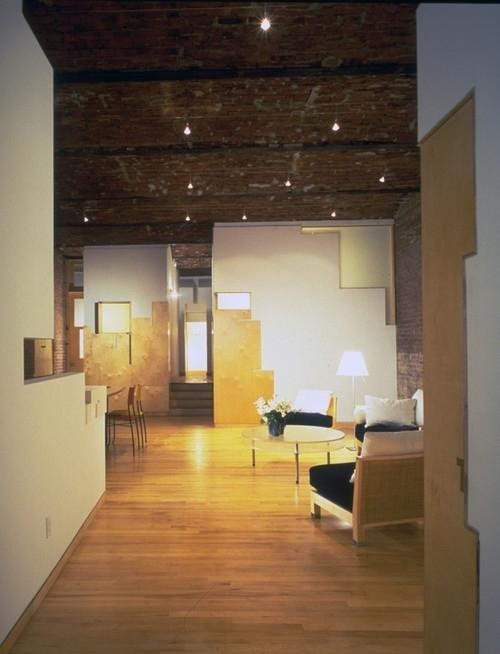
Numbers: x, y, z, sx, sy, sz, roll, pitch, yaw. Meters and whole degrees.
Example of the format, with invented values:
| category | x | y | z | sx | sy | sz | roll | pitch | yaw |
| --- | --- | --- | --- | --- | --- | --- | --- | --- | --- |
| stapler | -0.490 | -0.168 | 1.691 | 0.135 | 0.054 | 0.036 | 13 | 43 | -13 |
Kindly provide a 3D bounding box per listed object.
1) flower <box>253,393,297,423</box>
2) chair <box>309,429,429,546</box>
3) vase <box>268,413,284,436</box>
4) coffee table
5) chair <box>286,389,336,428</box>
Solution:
| category | x | y | z | sx | sy | sz | roll | pitch | yaw |
| --- | --- | --- | --- | --- | --- | --- | --- | --- | --- |
| flower | 0.252 | 0.915 | 6.193 | 0.315 | 0.281 | 0.466 | 0 | 0 | -3 |
| chair | 0.827 | 1.151 | 4.427 | 0.658 | 0.878 | 0.928 | 1 | -4 | -16 |
| vase | 0.272 | 1.011 | 6.012 | 0.196 | 0.239 | 0.201 | 0 | -1 | -2 |
| coffee table | 0.484 | 1.383 | 6.004 | 1.004 | 0.303 | 0.992 | 2 | -15 | -30 |
| chair | 0.847 | 1.093 | 7.873 | 0.496 | 0.457 | 0.495 | -5 | -13 | 30 |
